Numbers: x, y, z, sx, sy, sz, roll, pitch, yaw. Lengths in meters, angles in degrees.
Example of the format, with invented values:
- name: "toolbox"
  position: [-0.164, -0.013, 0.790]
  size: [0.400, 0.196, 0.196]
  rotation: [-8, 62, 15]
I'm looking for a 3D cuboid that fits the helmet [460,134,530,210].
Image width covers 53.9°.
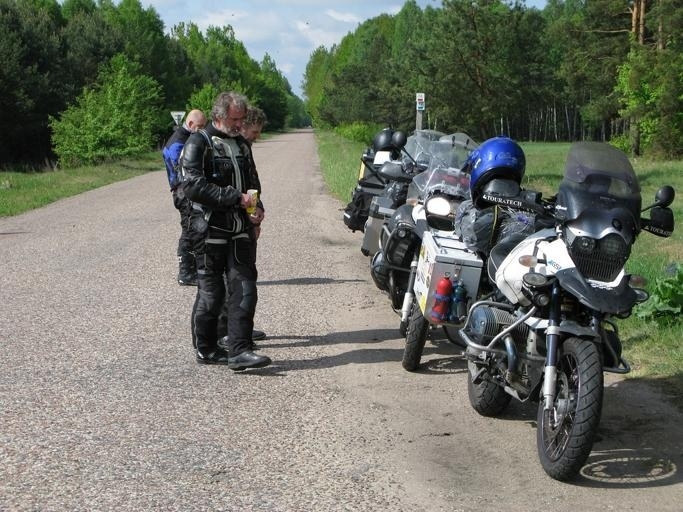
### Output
- name: "helmet"
  position: [1.333, -0.718, 6.092]
  size: [0.465, 0.629, 0.560]
  rotation: [13, 47, 0]

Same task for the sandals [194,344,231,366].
- name: "sandals"
  position: [-1.238, 0.946, 6.436]
  size: [0.305, 0.149, 0.150]
  rotation: [-2, 10, -8]

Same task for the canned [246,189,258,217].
- name: "canned"
  position: [-0.847, -0.491, 6.259]
  size: [0.076, 0.240, 0.128]
  rotation: [0, 12, 0]

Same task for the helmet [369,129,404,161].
- name: "helmet"
  position: [0.652, -1.557, 9.249]
  size: [0.521, 0.505, 0.394]
  rotation: [15, 15, 32]

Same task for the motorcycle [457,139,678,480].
- name: "motorcycle"
  position: [1.549, 0.290, 5.154]
  size: [1.170, 2.260, 1.528]
  rotation: [-10, 16, -40]

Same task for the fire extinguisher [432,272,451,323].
- name: "fire extinguisher"
  position: [0.854, 0.372, 5.740]
  size: [0.146, 0.406, 0.166]
  rotation: [7, 19, -2]

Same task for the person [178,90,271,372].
- name: "person"
  position: [-1.118, -0.261, 6.363]
  size: [0.844, 2.531, 0.793]
  rotation: [-3, 7, -34]

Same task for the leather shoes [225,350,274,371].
- name: "leather shoes"
  position: [-0.871, 0.973, 6.300]
  size: [0.445, 0.209, 0.168]
  rotation: [-4, 8, 11]
